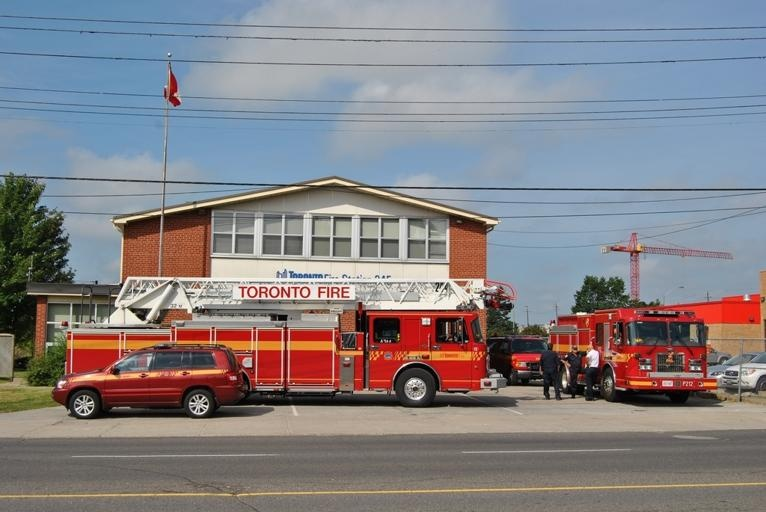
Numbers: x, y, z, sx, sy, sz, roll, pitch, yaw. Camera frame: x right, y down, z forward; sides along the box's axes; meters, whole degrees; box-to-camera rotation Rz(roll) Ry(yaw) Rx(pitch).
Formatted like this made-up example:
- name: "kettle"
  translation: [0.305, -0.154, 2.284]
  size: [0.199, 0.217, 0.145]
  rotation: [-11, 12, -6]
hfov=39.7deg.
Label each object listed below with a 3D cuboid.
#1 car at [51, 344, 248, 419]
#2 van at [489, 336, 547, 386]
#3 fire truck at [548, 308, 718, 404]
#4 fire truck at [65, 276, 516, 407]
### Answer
- name: "car"
  translation: [-7.701, 4.100, 35.601]
  size: [6.275, 2.245, 2.592]
  rotation: [0, 3, -2]
- name: "van"
  translation: [6.212, 4.523, 48.615]
  size: [2.261, 1.891, 4.565]
  rotation: [-1, 3, -15]
- name: "fire truck"
  translation: [9.459, 3.947, 42.248]
  size: [3.632, 3.357, 9.127]
  rotation: [1, -5, -12]
- name: "fire truck"
  translation: [-2.838, 2.938, 39.230]
  size: [15.093, 4.371, 4.025]
  rotation: [0, 7, -2]
